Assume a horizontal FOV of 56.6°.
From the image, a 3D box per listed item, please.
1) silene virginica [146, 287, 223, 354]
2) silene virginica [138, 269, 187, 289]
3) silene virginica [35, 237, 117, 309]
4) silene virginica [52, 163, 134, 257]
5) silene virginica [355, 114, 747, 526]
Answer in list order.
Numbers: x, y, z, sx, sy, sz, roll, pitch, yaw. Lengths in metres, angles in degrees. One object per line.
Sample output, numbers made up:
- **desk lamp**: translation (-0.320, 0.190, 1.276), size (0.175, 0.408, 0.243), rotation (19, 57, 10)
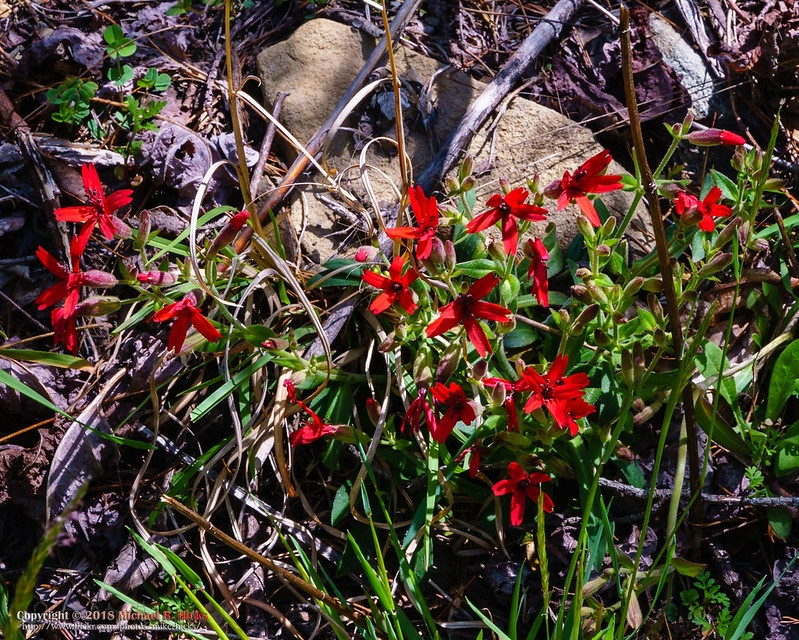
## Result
- **silene virginica**: translation (-0.617, -0.002, 2.125), size (0.168, 0.170, 0.229), rotation (-3, 25, -21)
- **silene virginica**: translation (-0.678, -0.113, 2.177), size (0.165, 0.055, 0.060), rotation (0, 17, -46)
- **silene virginica**: translation (-0.934, -0.112, 2.141), size (0.109, 0.225, 0.266), rotation (39, 0, -44)
- **silene virginica**: translation (-0.870, -0.325, 2.146), size (0.077, 0.284, 0.285), rotation (16, 43, -55)
- **silene virginica**: translation (0.419, -0.033, 2.174), size (1.057, 1.158, 0.730), rotation (5, 22, -4)
